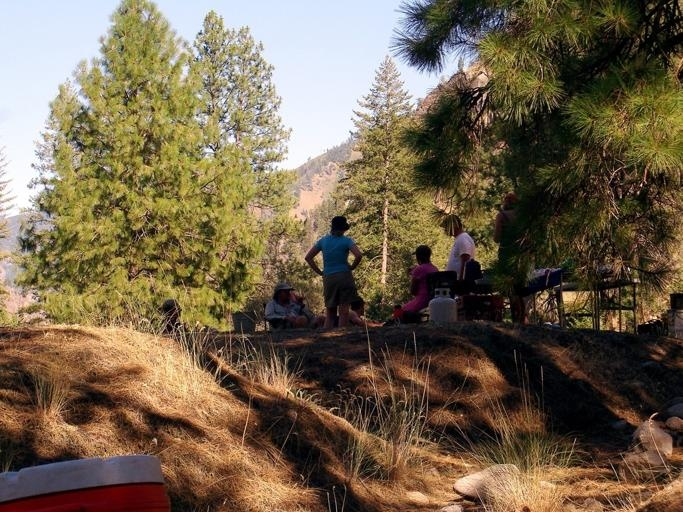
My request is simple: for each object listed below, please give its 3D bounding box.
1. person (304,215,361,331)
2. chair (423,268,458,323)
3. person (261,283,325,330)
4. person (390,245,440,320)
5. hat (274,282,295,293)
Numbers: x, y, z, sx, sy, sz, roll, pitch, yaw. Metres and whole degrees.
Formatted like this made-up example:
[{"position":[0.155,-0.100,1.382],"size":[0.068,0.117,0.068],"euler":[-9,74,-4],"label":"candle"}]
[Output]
[{"position":[-0.105,0.235,10.908],"size":[0.777,1.619,0.598],"euler":[-3,-8,19],"label":"person"},{"position":[1.344,0.703,10.295],"size":[0.305,1.067,0.378],"euler":[5,-27,-2],"label":"chair"},{"position":[-0.749,0.831,11.769],"size":[0.622,1.052,0.688],"euler":[-9,0,24],"label":"person"},{"position":[1.140,0.579,11.379],"size":[0.449,1.502,0.601],"euler":[-1,2,-30],"label":"person"},{"position":[-1.122,0.617,14.878],"size":[0.345,0.200,0.463],"euler":[-3,-5,7],"label":"hat"}]
